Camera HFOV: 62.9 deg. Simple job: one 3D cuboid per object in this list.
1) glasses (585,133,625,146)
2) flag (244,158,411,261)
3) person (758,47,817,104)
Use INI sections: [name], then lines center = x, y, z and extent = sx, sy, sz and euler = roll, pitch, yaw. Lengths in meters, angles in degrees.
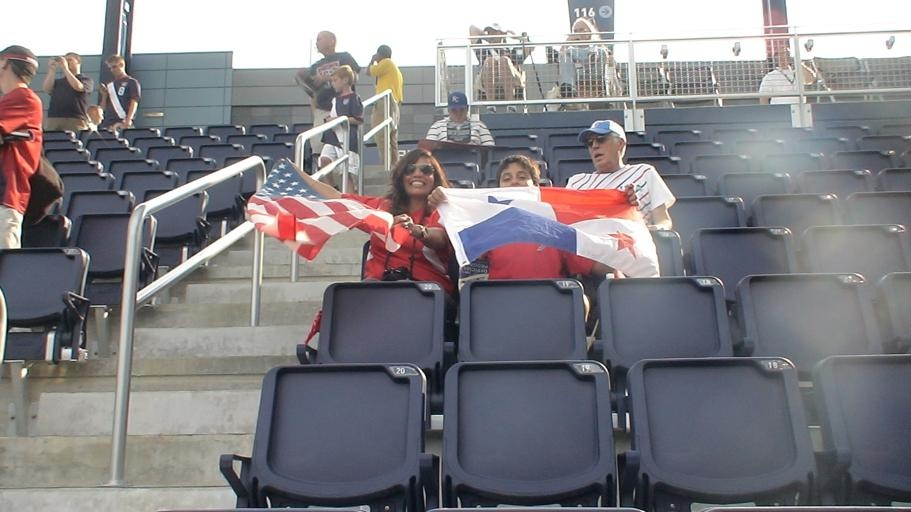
[glasses]
center = 1.465, -1.115, 7.243
extent = 0.225, 0.067, 0.144
euler = 7, -11, -12
[flag]
center = -1.097, -0.385, 6.147
extent = 0.967, 0.331, 0.985
euler = 39, 41, 22
[person]
center = 5.169, -2.829, 11.800
extent = 0.953, 0.861, 0.468
euler = -7, 7, -24
